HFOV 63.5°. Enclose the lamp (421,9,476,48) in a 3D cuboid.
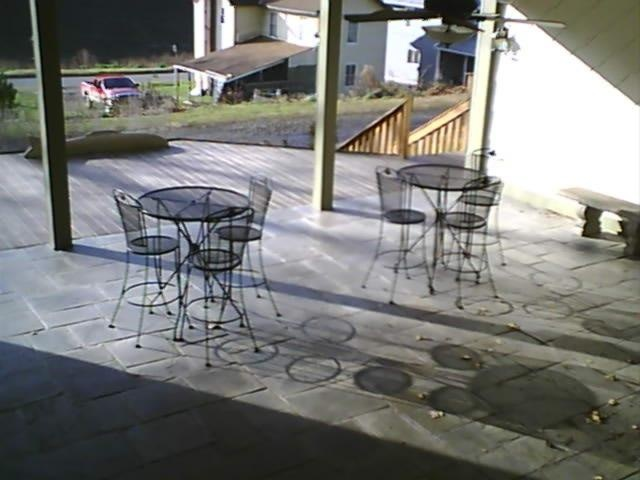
[{"bbox_3d":[0.999,-1.609,3.949,0.283,0.120,0.254,-19,36,-31],"label":"lamp"}]
